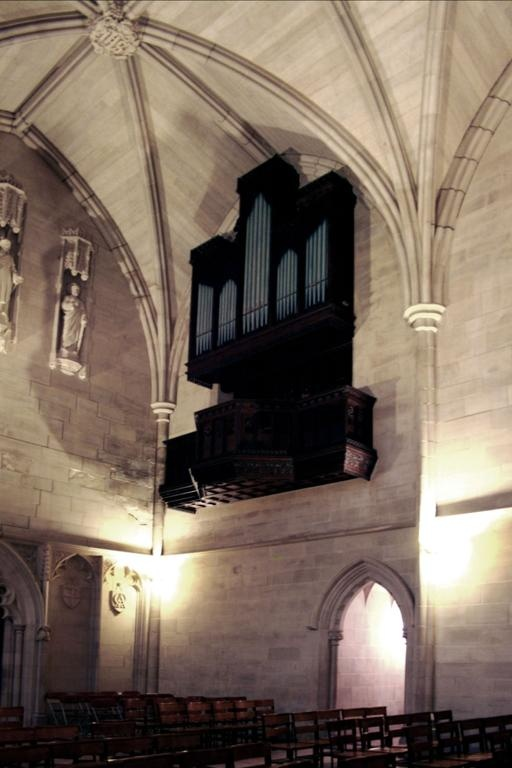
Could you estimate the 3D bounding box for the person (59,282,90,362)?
[{"bbox_3d":[-3.224,-1.056,17.209,0.206,1.442,0.597,-6,-16,26],"label":"person"}]
